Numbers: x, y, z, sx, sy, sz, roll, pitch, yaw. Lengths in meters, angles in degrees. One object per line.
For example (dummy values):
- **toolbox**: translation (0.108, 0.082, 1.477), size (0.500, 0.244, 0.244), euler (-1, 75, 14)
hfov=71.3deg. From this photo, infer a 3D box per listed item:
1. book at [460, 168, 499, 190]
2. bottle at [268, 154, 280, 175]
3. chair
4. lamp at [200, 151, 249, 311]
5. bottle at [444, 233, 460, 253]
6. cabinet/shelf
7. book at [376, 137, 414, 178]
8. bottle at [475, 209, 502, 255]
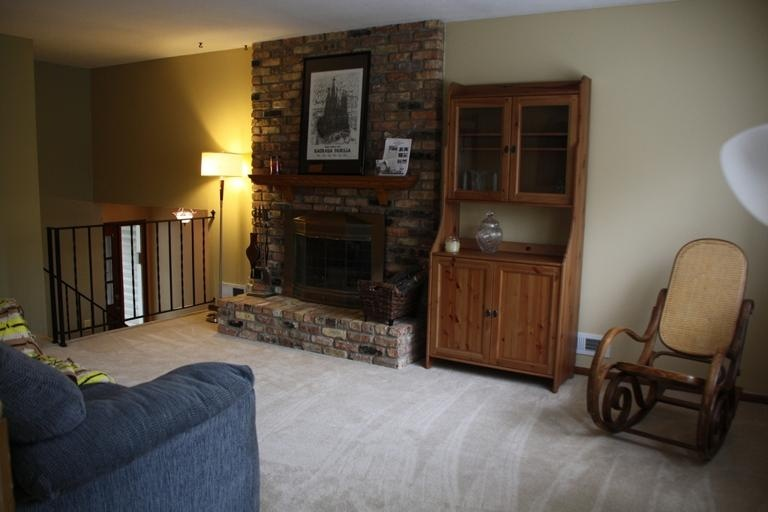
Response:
- **book**: translation (0.841, -0.671, 4.707), size (0.236, 0.170, 0.182), euler (3, 5, 14)
- **bottle**: translation (-1.196, -0.992, 5.844), size (0.132, 0.193, 0.381), euler (-3, 14, -12)
- **chair**: translation (2.170, 0.622, 3.945), size (0.840, 1.388, 1.283), euler (10, 16, 35)
- **lamp**: translation (-1.843, -0.329, 6.290), size (0.541, 1.737, 0.500), euler (3, 14, 13)
- **bottle**: translation (0.634, -0.111, 4.903), size (0.156, 0.171, 0.158), euler (1, 0, 9)
- **cabinet/shelf**: translation (1.117, -0.253, 4.797), size (1.230, 2.592, 0.677), euler (7, 12, 31)
- **book**: translation (0.070, -0.973, 5.233), size (0.368, 0.357, 0.172), euler (8, 15, 30)
- **bottle**: translation (0.961, -0.222, 4.871), size (0.241, 0.359, 0.247), euler (0, 11, 0)
